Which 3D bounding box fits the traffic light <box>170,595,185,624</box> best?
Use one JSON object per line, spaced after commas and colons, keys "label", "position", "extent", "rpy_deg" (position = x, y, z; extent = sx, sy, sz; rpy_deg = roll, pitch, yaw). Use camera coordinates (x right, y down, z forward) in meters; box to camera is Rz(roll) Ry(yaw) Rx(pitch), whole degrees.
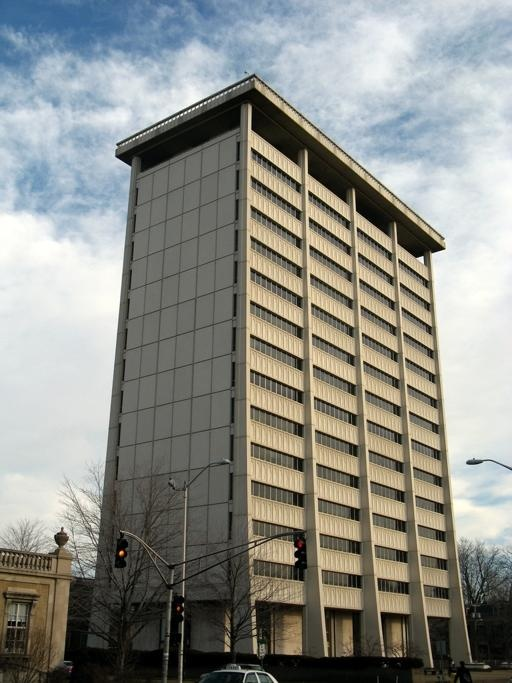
{"label": "traffic light", "position": [-2.786, 9.425, 24.206], "extent": [0.424, 0.935, 1.243], "rpy_deg": [1, -24, -9]}
